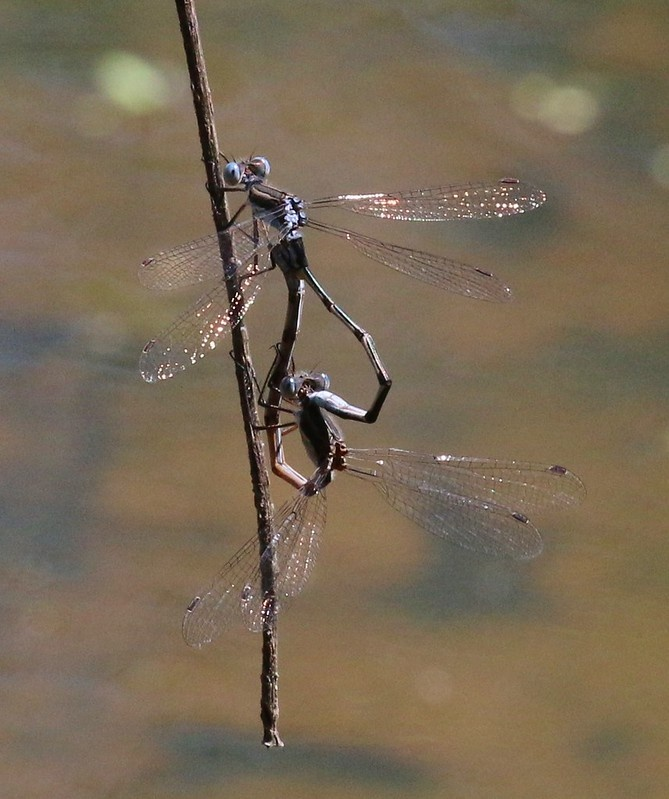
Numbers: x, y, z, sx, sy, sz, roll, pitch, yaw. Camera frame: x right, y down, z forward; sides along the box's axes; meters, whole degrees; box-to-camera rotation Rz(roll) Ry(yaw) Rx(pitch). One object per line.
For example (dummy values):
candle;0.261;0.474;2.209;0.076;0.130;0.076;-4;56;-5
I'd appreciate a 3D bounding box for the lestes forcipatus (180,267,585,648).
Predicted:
lestes forcipatus;-0.015;0.195;2.347;1.128;0.381;0.669;-7;68;-34
